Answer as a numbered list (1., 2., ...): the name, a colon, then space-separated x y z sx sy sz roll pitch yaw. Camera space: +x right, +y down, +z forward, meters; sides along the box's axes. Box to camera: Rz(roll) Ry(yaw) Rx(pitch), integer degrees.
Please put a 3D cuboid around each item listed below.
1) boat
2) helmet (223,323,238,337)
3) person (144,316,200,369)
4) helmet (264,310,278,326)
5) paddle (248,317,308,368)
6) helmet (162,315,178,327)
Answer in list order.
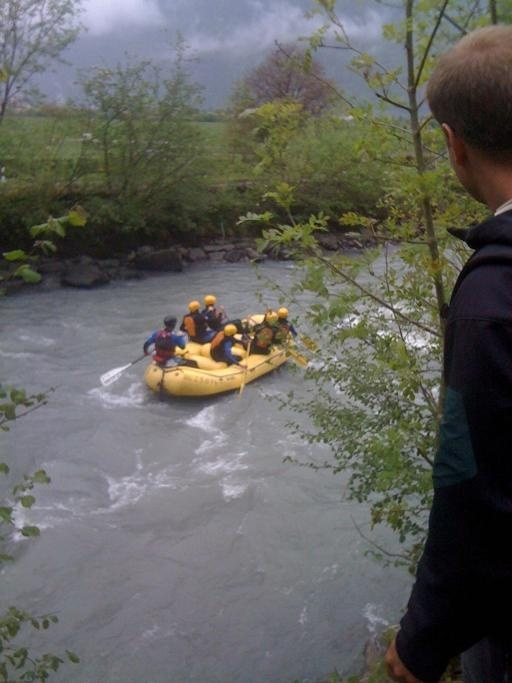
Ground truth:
1. boat: -0.623 0.367 10.953 1.383 0.613 2.543 26 33 37
2. helmet: -0.463 -0.189 10.673 0.219 0.247 0.315 -4 12 -7
3. person: -1.492 -0.024 10.556 0.664 0.964 0.885 -12 15 -36
4. helmet: 0.246 -0.390 10.065 0.251 0.115 0.279 1 -5 -1
5. paddle: 0.303 0.023 9.793 1.069 0.359 1.582 -3 4 -1
6. helmet: -1.453 -0.328 10.293 0.195 0.272 0.441 -5 12 -11
